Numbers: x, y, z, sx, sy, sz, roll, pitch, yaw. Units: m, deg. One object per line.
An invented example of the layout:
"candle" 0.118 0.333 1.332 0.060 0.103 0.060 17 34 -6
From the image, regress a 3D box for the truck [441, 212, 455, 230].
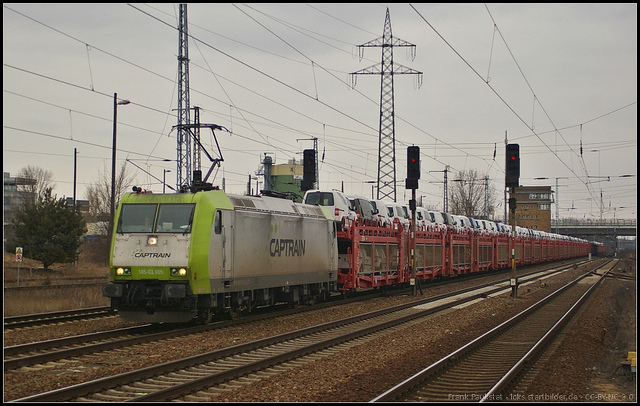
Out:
"truck" 9.301 1.232 47.866 1.276 0.975 1.710 3 4 8

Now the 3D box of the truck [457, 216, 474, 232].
"truck" 11.517 1.733 52.127 0.924 1.372 1.266 -6 9 -14

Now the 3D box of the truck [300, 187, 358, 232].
"truck" 0.371 0.124 33.309 1.600 1.709 3.048 -1 0 20

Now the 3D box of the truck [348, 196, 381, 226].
"truck" 2.392 0.279 35.067 1.064 1.031 1.887 0 3 29

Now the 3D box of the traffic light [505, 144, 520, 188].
"traffic light" 9.745 -1.937 33.517 0.635 2.126 0.507 -1 -3 -1

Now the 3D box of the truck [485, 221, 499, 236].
"truck" 15.269 2.155 59.107 0.729 1.085 3.531 -5 -11 20

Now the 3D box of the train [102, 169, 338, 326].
"train" -3.308 2.147 29.853 4.164 5.572 14.737 -5 -5 25

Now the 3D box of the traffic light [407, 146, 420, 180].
"traffic light" 4.747 -2.042 33.627 0.588 1.638 0.420 -1 -3 6

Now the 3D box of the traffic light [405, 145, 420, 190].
"traffic light" 4.704 -1.783 33.659 0.692 2.148 0.502 -1 -3 5

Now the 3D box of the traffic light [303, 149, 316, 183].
"traffic light" -0.714 -1.980 36.199 0.908 1.837 0.762 -1 3 -28
